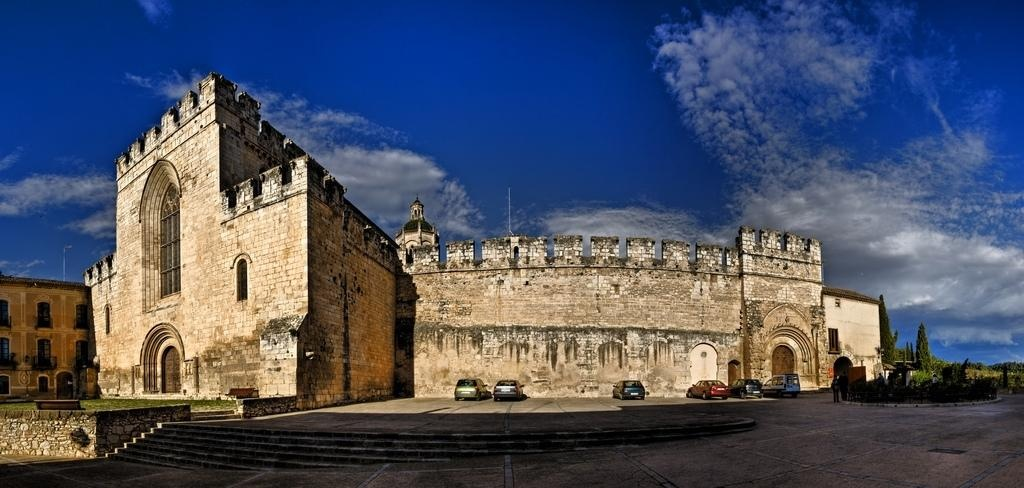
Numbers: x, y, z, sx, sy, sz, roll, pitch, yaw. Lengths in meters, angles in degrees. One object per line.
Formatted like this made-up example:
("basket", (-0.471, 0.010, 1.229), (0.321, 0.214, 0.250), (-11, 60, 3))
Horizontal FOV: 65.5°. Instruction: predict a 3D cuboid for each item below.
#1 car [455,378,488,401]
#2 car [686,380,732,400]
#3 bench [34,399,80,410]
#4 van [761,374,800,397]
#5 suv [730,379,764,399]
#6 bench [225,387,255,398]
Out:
("car", (-2.962, 11.221, 61.156), (1.540, 0.917, 2.360), (-1, -3, 11))
("car", (15.186, 11.540, 62.198), (1.786, 1.710, 2.873), (-9, 15, -31))
("bench", (-28.904, 10.362, 50.756), (2.658, 0.494, 0.712), (0, 13, 3))
("van", (21.556, 11.375, 63.934), (1.731, 1.243, 2.624), (2, -3, -6))
("suv", (18.522, 11.612, 63.158), (2.262, 1.529, 1.304), (8, 17, 34))
("bench", (-18.241, 10.425, 54.547), (2.049, 0.534, 0.900), (-3, -26, 7))
